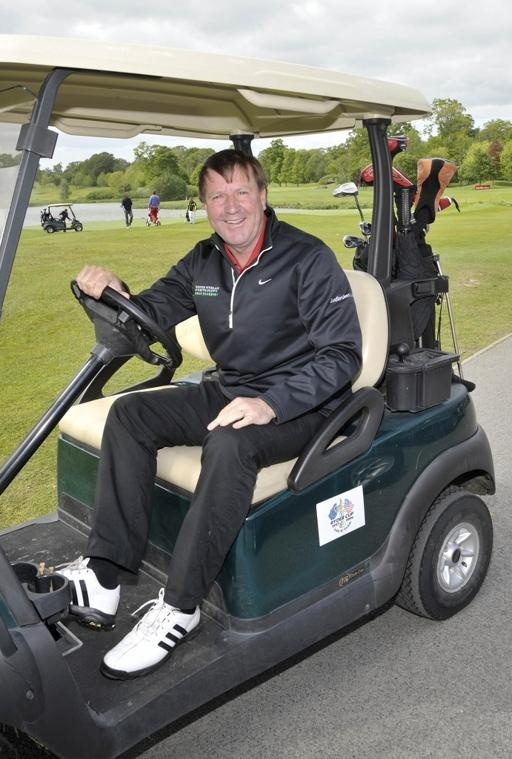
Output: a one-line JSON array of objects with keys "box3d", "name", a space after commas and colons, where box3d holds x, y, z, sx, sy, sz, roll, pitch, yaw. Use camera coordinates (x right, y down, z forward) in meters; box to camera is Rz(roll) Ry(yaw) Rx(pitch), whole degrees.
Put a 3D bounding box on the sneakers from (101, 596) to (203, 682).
[{"box3d": [-0.215, 0.533, 1.235, 0.085, 0.120, 0.258, 17, 17, 28], "name": "sneakers"}]
